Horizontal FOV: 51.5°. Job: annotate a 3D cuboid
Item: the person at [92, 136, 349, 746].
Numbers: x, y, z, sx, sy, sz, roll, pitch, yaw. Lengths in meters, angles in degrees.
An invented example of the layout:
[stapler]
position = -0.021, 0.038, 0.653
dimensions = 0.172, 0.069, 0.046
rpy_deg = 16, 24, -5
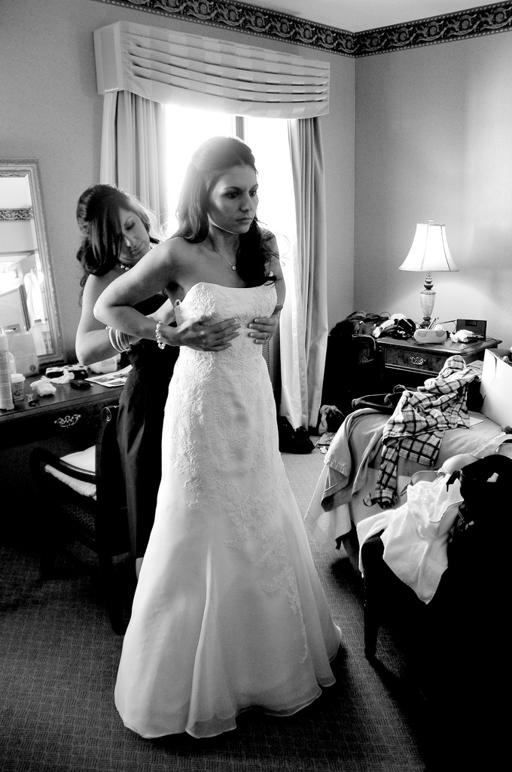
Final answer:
[person]
position = -0.067, 0.193, 1.319
dimensions = 0.612, 1.461, 0.388
rpy_deg = -3, 6, -19

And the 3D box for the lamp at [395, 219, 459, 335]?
[lamp]
position = 1.255, -0.809, 3.824
dimensions = 0.359, 0.786, 0.515
rpy_deg = 1, 6, 21

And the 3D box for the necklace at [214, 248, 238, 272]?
[necklace]
position = -0.069, -0.285, 1.217
dimensions = 0.046, 0.012, 0.034
rpy_deg = 43, 15, -6

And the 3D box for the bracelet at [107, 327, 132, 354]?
[bracelet]
position = -0.347, -0.107, 1.358
dimensions = 0.047, 0.064, 0.042
rpy_deg = -30, 34, -11

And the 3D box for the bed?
[bed]
position = 0.589, 0.373, 2.194
dimensions = 0.705, 0.459, 0.596
rpy_deg = 1, 3, 11
